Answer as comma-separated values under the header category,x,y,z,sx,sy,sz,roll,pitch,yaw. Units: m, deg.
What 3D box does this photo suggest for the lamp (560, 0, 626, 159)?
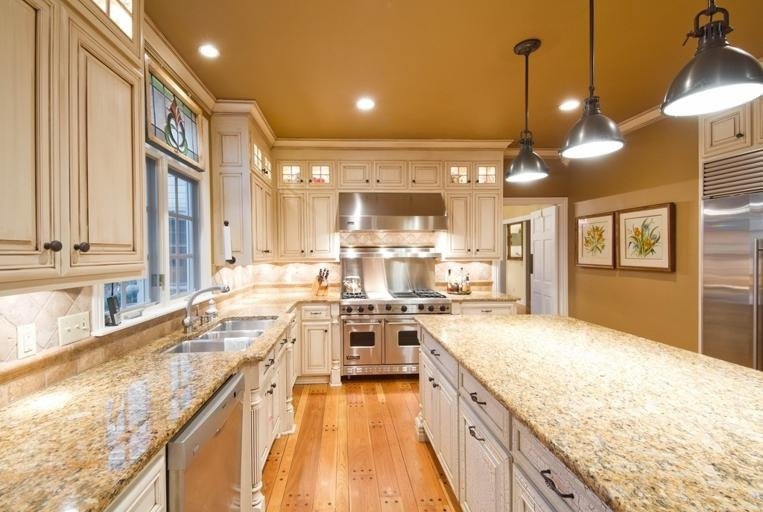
category,x,y,z,sx,sy,sz,roll,pitch,yaw
lamp,1.535,-1.274,3.688,0.387,1.151,0.962,-1,0,20

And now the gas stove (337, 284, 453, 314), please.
category,x,y,z,sx,sy,sz,roll,pitch,yaw
gas stove,0.157,0.529,5.589,1.210,0.191,0.528,-1,0,-4

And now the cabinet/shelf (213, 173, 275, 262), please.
category,x,y,z,sx,sy,sz,roll,pitch,yaw
cabinet/shelf,-1.353,-0.375,4.803,0.287,0.843,0.891,-1,-3,-1

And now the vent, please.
category,x,y,z,sx,sy,sz,roll,pitch,yaw
vent,0.131,-0.522,5.662,1.224,0.342,0.267,-1,0,-6

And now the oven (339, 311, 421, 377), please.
category,x,y,z,sx,sy,sz,roll,pitch,yaw
oven,-0.011,0.971,5.607,0.916,0.710,0.507,1,-2,-10

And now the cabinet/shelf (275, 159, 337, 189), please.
category,x,y,z,sx,sy,sz,roll,pitch,yaw
cabinet/shelf,-0.866,-0.949,5.710,0.664,0.272,0.095,-1,0,-1

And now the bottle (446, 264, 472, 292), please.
category,x,y,z,sx,sy,sz,roll,pitch,yaw
bottle,0.936,0.274,6.023,0.296,0.305,0.158,1,-7,-6

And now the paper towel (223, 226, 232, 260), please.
category,x,y,z,sx,sy,sz,roll,pitch,yaw
paper towel,-1.422,-0.131,4.614,0.081,0.297,0.178,-1,0,-18

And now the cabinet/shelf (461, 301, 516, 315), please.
category,x,y,z,sx,sy,sz,roll,pitch,yaw
cabinet/shelf,1.196,0.574,5.476,0.609,0.084,0.109,-1,0,-6
